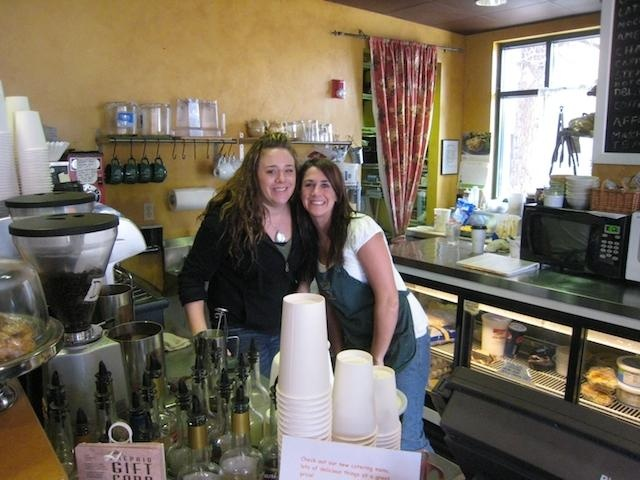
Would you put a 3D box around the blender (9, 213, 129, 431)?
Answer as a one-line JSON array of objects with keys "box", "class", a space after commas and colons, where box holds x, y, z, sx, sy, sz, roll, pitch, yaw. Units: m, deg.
[{"box": [-0.643, 0.110, 1.242, 0.243, 0.330, 0.132, -6, 12, -22], "class": "blender"}]

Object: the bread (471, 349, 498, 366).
[{"box": [1.098, 0.795, 3.234, 0.035, 0.078, 0.132, -12, 18, -42], "class": "bread"}]

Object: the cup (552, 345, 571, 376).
[{"box": [1.455, 0.730, 2.883, 0.038, 0.197, 0.087, -4, 11, -15], "class": "cup"}]

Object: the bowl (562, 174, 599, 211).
[{"box": [1.517, -0.287, 2.892, 0.204, 0.197, 0.195, 0, 6, 0], "class": "bowl"}]

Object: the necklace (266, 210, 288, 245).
[{"box": [-0.200, -0.056, 2.173, 0.108, 0.144, 0.038, -12, 1, -28], "class": "necklace"}]

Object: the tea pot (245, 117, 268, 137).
[{"box": [-0.522, -0.881, 3.888, 0.200, 0.166, 0.248, 0, 5, -9], "class": "tea pot"}]

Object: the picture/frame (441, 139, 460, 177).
[{"box": [1.499, -1.005, 5.497, 0.028, 0.290, 0.213, -20, 23, -39], "class": "picture/frame"}]

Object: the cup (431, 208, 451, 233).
[{"box": [1.039, -0.176, 4.149, 0.209, 0.232, 0.206, 3, 6, 0], "class": "cup"}]

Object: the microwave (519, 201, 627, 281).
[{"box": [1.477, 0.003, 2.774, 0.395, 0.386, 0.605, 0, 7, -28], "class": "microwave"}]

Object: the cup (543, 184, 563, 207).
[{"box": [1.405, -0.258, 2.895, 0.102, 0.093, 0.126, 0, 2, 1], "class": "cup"}]

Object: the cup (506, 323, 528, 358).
[{"box": [1.265, 0.657, 3.117, 0.128, 0.249, 0.058, 4, 12, 29], "class": "cup"}]

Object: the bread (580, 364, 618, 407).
[{"box": [1.584, 0.823, 2.720, 0.168, 0.224, 0.072, -2, -19, 45], "class": "bread"}]
